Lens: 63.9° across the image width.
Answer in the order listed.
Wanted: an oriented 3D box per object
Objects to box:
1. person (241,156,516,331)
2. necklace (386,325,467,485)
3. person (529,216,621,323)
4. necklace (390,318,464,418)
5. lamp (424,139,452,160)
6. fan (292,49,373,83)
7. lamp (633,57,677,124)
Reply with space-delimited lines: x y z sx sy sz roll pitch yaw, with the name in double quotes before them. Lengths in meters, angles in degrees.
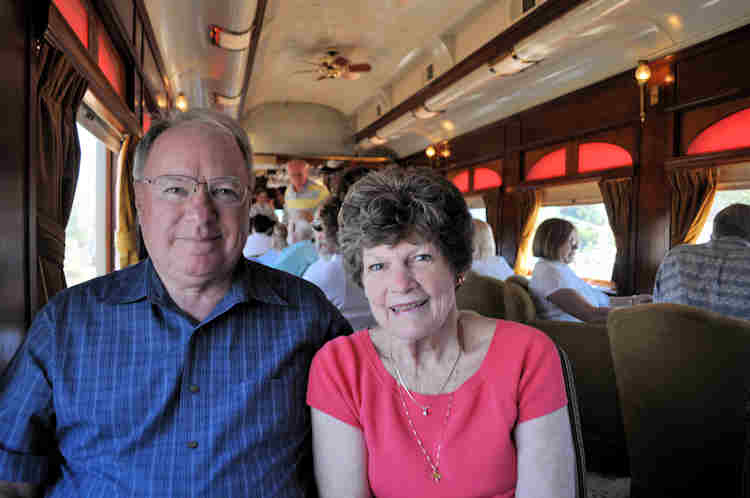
"person" -0.277 -0.155 4.055 0.854 1.066 0.422 10 28 32
"necklace" 0.214 0.700 2.800 0.216 0.709 0.055 -6 -14 4
"person" 1.582 0.173 4.851 0.651 0.845 1.111 -1 2 20
"necklace" 0.234 0.550 2.740 0.281 0.430 0.103 -1 -4 2
"lamp" 1.173 -1.839 11.028 0.178 0.350 0.527 -9 10 -38
"fan" -0.540 -2.761 9.058 0.688 0.276 0.443 7 12 -8
"lamp" 2.841 -1.685 6.321 0.311 0.678 0.500 1 0 -19
